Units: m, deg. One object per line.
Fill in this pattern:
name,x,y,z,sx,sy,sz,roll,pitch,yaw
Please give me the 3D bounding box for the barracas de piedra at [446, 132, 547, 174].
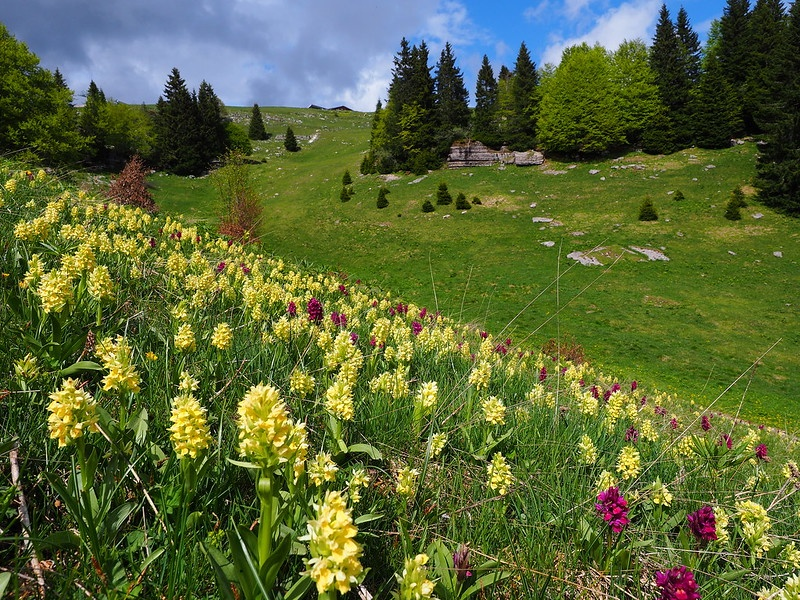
barracas de piedra,8.624,-13.753,49.540,8.148,2.472,4.458,1,17,8
